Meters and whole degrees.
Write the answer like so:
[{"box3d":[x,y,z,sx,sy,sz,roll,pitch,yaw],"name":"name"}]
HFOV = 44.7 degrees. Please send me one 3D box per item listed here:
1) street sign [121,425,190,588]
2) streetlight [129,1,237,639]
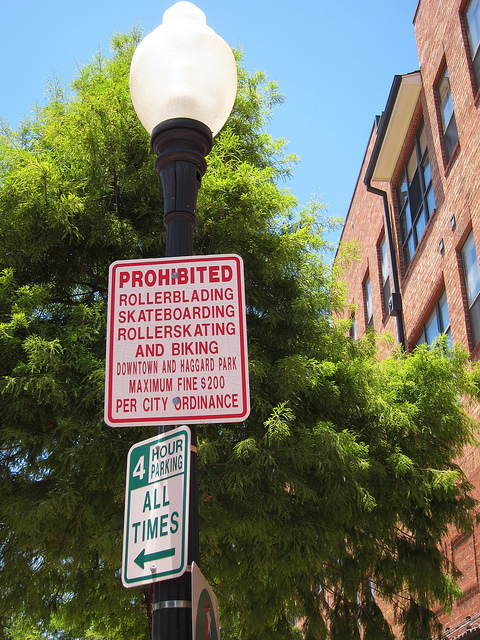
[{"box3d":[-0.258,0.581,1.812,0.230,0.483,0.032,-17,-36,19],"name":"street sign"},{"box3d":[-0.238,-0.368,2.496,0.384,2.789,0.549,-2,-16,-10],"name":"streetlight"}]
